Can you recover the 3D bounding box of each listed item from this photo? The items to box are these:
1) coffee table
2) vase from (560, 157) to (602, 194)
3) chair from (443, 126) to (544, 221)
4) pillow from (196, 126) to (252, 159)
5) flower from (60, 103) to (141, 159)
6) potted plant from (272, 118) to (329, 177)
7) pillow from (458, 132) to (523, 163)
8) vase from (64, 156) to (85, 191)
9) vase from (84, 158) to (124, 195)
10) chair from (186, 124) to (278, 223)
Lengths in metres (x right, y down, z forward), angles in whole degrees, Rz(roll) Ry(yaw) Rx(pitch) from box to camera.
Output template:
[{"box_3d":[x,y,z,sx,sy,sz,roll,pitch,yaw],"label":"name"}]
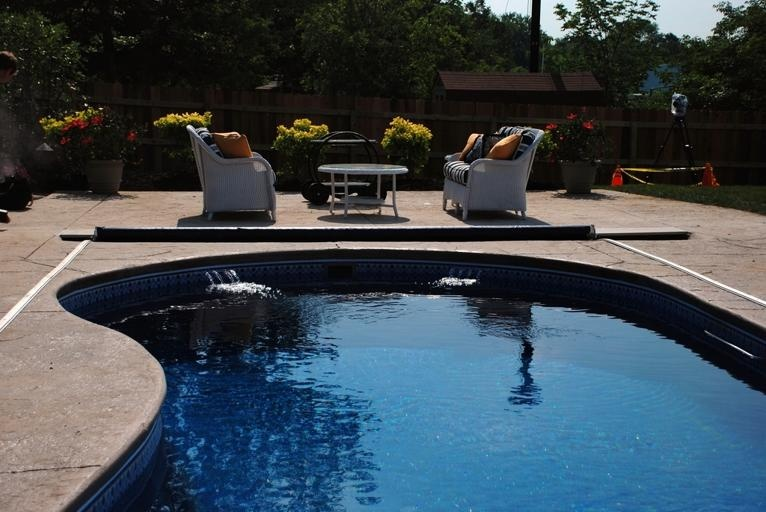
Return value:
[{"box_3d":[-0.232,-0.972,9.839,1.202,0.619,1.172,4,17,6],"label":"coffee table"},{"box_3d":[3.581,-1.408,12.577,0.677,0.526,0.677,9,16,44],"label":"vase"},{"box_3d":[1.420,-1.247,9.848,1.466,1.349,1.371,-1,9,-10],"label":"chair"},{"box_3d":[-2.016,-1.454,8.962,0.518,0.183,0.496,5,6,-2],"label":"pillow"},{"box_3d":[-4.524,-1.957,11.081,1.000,0.767,0.954,22,26,35],"label":"flower"},{"box_3d":[-1.502,-1.830,12.392,0.928,0.933,1.018,6,-1,9],"label":"potted plant"},{"box_3d":[1.541,-1.547,9.949,0.468,0.454,1.624,0,11,-7],"label":"pillow"},{"box_3d":[-5.214,-1.406,11.693,0.367,0.571,0.392,-2,12,-16],"label":"vase"},{"box_3d":[-4.455,-1.290,11.204,0.604,0.494,0.585,1,4,18],"label":"vase"},{"box_3d":[-1.976,-1.106,9.375,1.230,1.094,0.937,1,6,-2],"label":"chair"}]
